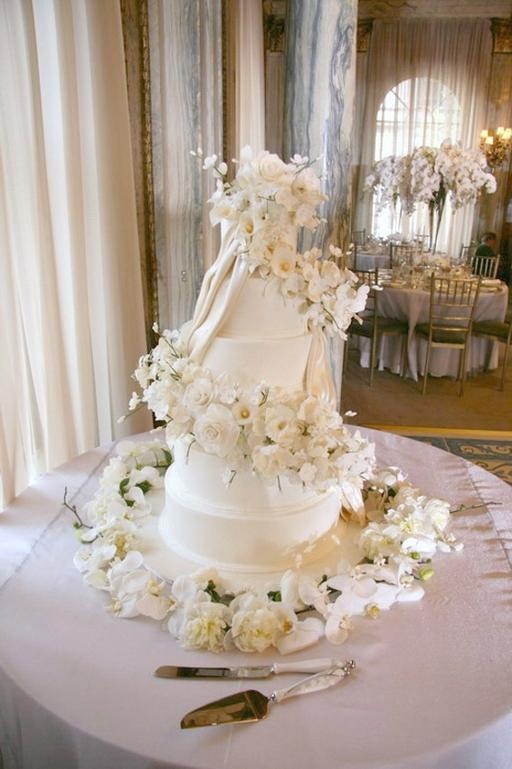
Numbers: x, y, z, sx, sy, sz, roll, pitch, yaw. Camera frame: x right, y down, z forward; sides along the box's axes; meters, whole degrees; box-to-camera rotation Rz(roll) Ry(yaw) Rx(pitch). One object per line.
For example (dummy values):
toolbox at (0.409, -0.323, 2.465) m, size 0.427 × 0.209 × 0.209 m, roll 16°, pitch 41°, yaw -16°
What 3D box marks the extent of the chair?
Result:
chair at (1.673, -0.716, 5.851) m, size 1.418 × 0.872 × 1.424 m, roll -4°, pitch 13°, yaw -24°
